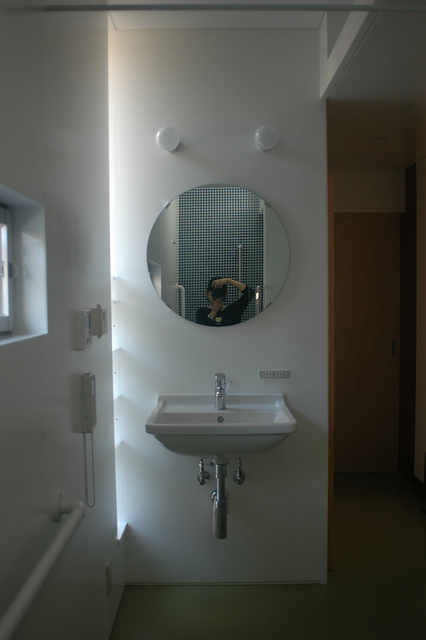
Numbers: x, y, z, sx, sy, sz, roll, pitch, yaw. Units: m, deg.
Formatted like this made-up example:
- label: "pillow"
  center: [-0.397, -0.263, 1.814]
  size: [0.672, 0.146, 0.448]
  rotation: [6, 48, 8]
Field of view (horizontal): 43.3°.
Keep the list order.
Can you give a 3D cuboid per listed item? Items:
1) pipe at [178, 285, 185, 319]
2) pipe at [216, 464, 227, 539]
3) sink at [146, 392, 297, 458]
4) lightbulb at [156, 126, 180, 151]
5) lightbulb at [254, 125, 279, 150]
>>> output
- label: "pipe"
  center: [-0.130, -0.082, 2.285]
  size: [0.027, 0.136, 0.009]
  rotation: [-3, 3, -7]
- label: "pipe"
  center: [0.032, 0.706, 2.152]
  size: [0.049, 0.290, 0.114]
  rotation: [-3, 3, 0]
- label: "sink"
  center: [0.030, 0.437, 2.120]
  size: [0.547, 0.243, 0.387]
  rotation: [-1, 2, 3]
- label: "lightbulb"
  center: [-0.184, -0.746, 2.209]
  size: [0.098, 0.092, 0.076]
  rotation: [-4, 3, -5]
- label: "lightbulb"
  center: [0.219, -0.747, 2.203]
  size: [0.093, 0.088, 0.066]
  rotation: [-3, 3, 3]
